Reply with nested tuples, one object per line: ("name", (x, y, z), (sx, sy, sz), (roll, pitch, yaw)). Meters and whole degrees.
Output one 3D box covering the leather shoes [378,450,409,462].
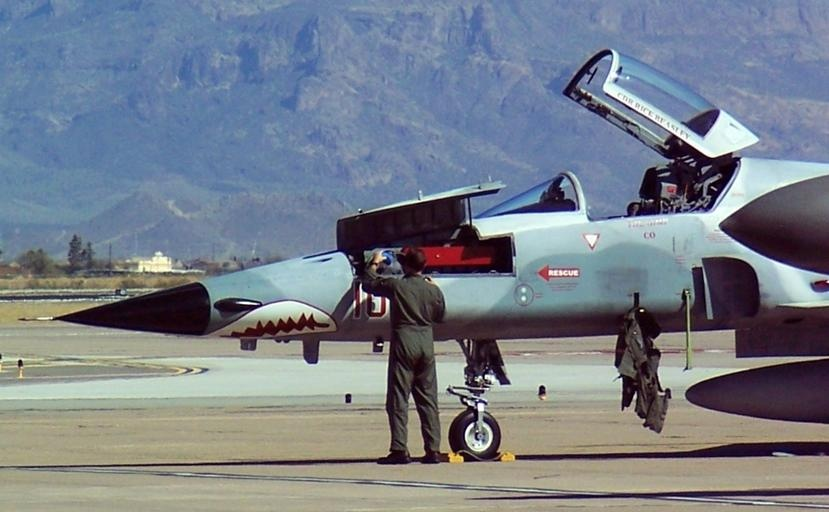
("leather shoes", (-0.365, 3.227, 21.312), (0.497, 0.258, 0.241), (-2, 1, -1))
